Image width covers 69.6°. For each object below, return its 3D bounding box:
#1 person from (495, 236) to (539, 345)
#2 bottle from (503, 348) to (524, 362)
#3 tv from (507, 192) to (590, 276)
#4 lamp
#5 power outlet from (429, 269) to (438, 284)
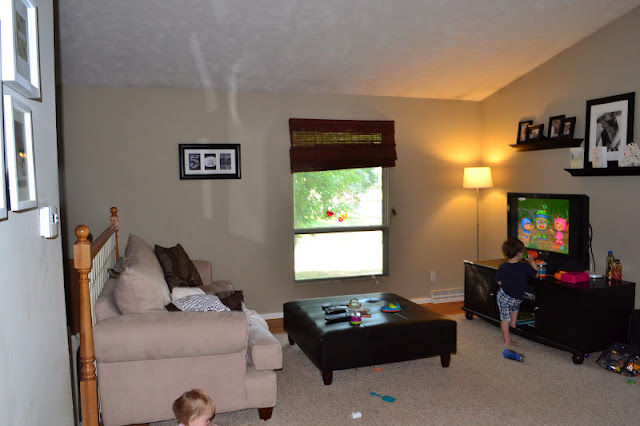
[{"bbox_3d":[2.173,0.890,5.114,0.421,1.190,0.333,1,7,9],"label":"person"},{"bbox_3d":[2.022,1.469,4.791,0.163,0.052,0.103,8,10,41],"label":"bottle"},{"bbox_3d":[2.593,0.258,5.159,0.162,0.827,0.939,-2,3,-30],"label":"tv"},{"bbox_3d":[2.300,0.004,6.798,0.462,1.393,0.468,-1,15,-4],"label":"lamp"},{"bbox_3d":[1.649,0.924,6.652,0.159,0.163,0.038,-1,4,-25],"label":"power outlet"}]
